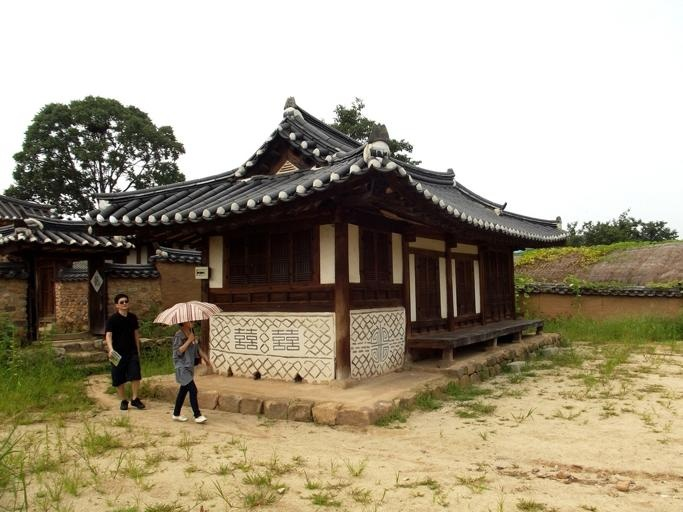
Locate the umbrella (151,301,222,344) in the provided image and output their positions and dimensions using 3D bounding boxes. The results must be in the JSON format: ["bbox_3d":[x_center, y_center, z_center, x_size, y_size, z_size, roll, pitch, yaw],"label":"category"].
[{"bbox_3d":[-2.623,1.110,10.588,0.834,0.263,0.794,-10,0,8],"label":"umbrella"}]

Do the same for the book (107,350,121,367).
[{"bbox_3d":[-4.182,1.900,11.010,0.072,0.275,0.273,-48,-2,-35],"label":"book"}]

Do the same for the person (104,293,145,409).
[{"bbox_3d":[-4.126,1.825,11.406,0.590,2.297,0.891,-3,9,-18],"label":"person"}]

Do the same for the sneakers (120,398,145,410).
[{"bbox_3d":[-3.989,2.816,11.373,0.573,0.203,0.199,-3,-5,15],"label":"sneakers"}]
